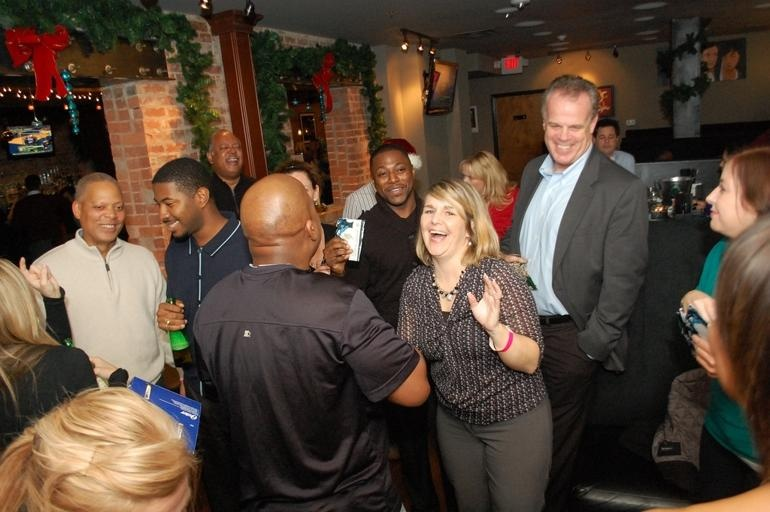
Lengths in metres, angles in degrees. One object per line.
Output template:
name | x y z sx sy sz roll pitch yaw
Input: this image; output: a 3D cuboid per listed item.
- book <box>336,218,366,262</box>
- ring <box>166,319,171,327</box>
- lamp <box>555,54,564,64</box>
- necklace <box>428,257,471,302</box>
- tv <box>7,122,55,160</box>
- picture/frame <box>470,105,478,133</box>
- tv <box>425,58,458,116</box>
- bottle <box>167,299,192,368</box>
book | -0.196 -0.094 3.061 0.178 0.234 0.064 1 -4 12
ring | -1.127 0.350 2.696 0.027 0.036 0.009 -7 -9 15
lamp | 4.167 -4.714 12.423 0.226 0.092 0.306 9 -24 12
necklace | 0.335 0.123 2.632 0.163 0.202 0.055 -3 -10 20
tv | -6.054 -1.965 8.858 0.242 0.506 0.794 1 15 18
picture/frame | 2.420 -3.692 13.996 0.284 0.697 0.152 -14 18 -34
tv | 0.971 -2.992 9.076 0.130 0.861 1.238 11 17 21
bottle | -1.134 0.516 2.890 0.091 0.226 0.118 -10 16 -22
